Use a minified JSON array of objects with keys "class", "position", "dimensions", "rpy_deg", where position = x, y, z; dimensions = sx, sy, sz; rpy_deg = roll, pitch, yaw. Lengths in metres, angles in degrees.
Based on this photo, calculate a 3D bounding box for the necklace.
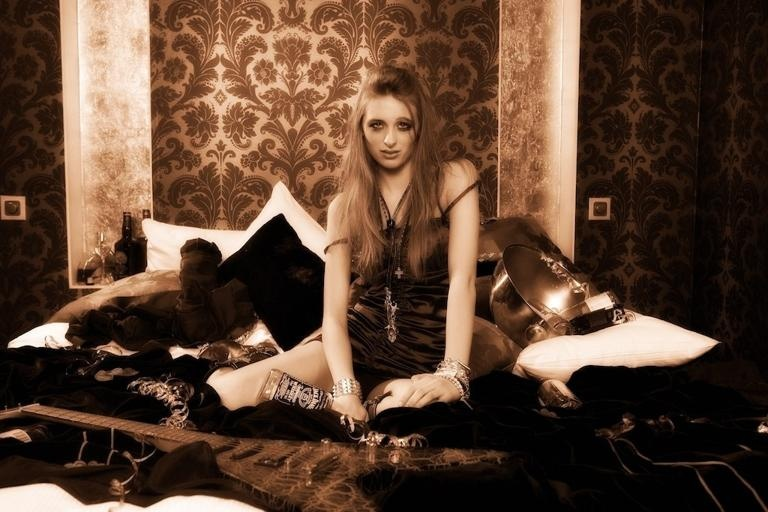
[{"class":"necklace","position":[0.019,0.077,2.642],"dimensions":[0.171,0.528,0.072],"rpy_deg":[0,6,9]}]

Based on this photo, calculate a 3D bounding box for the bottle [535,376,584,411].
[{"class":"bottle","position":[0.643,0.513,2.328],"dimensions":[0.102,0.101,0.177],"rpy_deg":[3,3,-8]}]

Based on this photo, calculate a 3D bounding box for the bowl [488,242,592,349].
[{"class":"bowl","position":[0.669,0.273,2.884],"dimensions":[0.407,0.270,0.440],"rpy_deg":[19,24,-9]}]

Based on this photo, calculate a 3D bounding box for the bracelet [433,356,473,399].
[{"class":"bracelet","position":[0.281,0.459,2.435],"dimensions":[0.144,0.136,0.113],"rpy_deg":[41,12,19]}]

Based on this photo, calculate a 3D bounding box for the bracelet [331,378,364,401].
[{"class":"bracelet","position":[-0.135,0.514,2.397],"dimensions":[0.073,0.055,0.094],"rpy_deg":[8,-18,-30]}]
